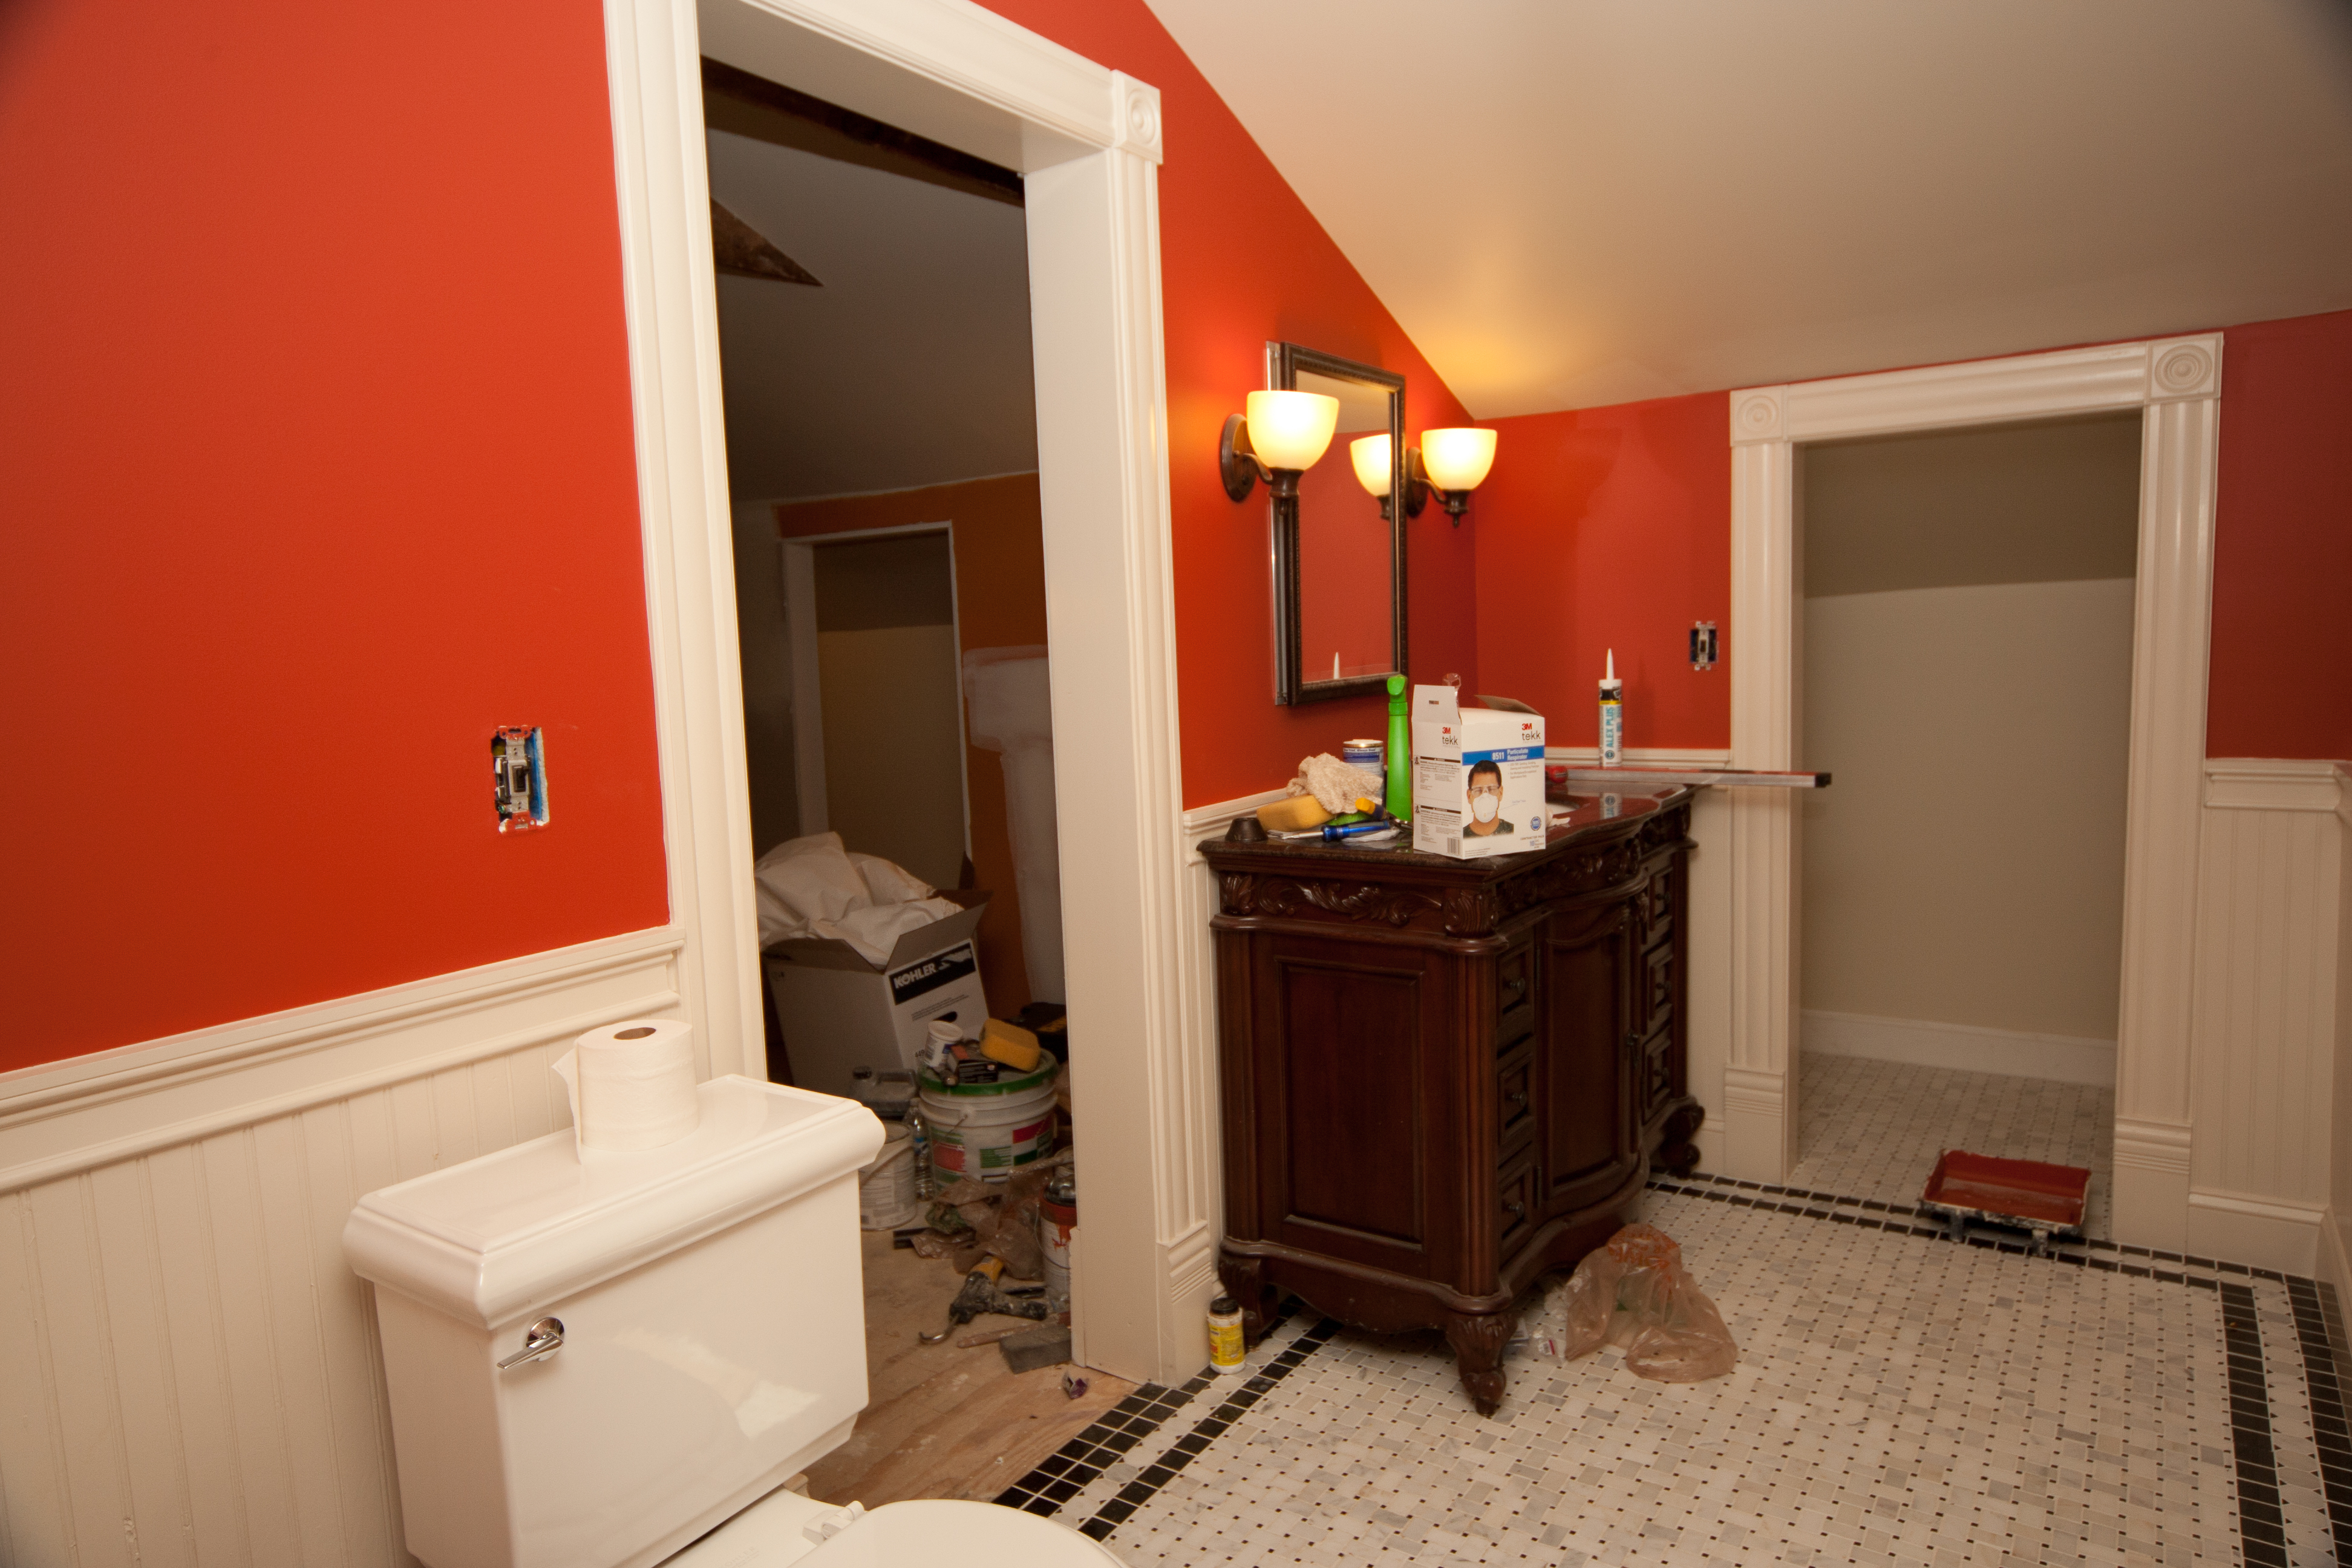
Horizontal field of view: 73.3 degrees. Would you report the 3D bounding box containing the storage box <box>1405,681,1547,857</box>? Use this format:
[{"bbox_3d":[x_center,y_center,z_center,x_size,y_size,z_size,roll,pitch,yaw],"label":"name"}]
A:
[{"bbox_3d":[0.684,-0.034,3.614,0.275,0.365,0.198,-5,7,-27],"label":"storage box"}]

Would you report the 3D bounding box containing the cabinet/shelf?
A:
[{"bbox_3d":[0.815,0.657,4.208,0.866,1.225,1.481,3,11,37],"label":"cabinet/shelf"}]

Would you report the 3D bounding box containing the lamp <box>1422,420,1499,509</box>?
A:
[{"bbox_3d":[0.784,-0.874,4.388,0.224,0.262,0.209,-6,9,-40],"label":"lamp"}]

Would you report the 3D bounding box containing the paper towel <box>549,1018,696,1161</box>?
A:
[{"bbox_3d":[-0.889,0.484,2.546,0.226,0.179,0.177,-6,11,-26],"label":"paper towel"}]

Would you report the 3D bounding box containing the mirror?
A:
[{"bbox_3d":[0.406,-0.664,4.089,0.069,1.104,0.953,1,3,28],"label":"mirror"}]

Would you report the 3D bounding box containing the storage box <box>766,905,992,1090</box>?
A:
[{"bbox_3d":[-0.921,0.671,5.014,0.511,0.629,0.528,5,15,13],"label":"storage box"}]

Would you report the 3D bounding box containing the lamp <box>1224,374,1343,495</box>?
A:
[{"bbox_3d":[0.249,-0.808,3.762,0.250,0.302,0.263,4,4,18],"label":"lamp"}]
